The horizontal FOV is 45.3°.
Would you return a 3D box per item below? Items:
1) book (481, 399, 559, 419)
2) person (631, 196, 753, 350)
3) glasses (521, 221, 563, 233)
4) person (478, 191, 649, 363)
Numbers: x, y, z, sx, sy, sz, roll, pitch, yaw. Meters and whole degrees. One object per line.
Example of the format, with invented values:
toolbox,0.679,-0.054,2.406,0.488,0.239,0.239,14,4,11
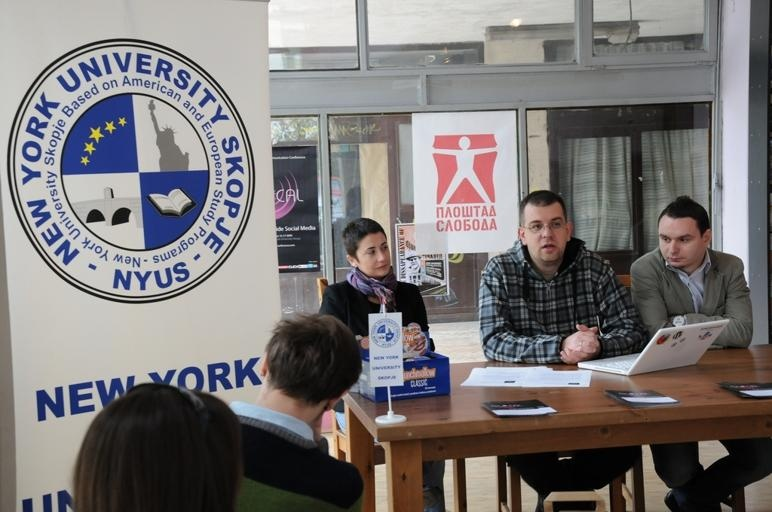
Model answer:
book,0.563,0.625,3.804,0.302,0.040,0.174,-5,5,7
person,1.596,0.122,4.760,0.567,0.806,0.479,-5,3,10
glasses,0.804,-0.154,4.613,0.214,0.062,0.078,-4,6,10
person,0.826,0.133,4.609,0.769,0.907,0.992,-8,6,-13
